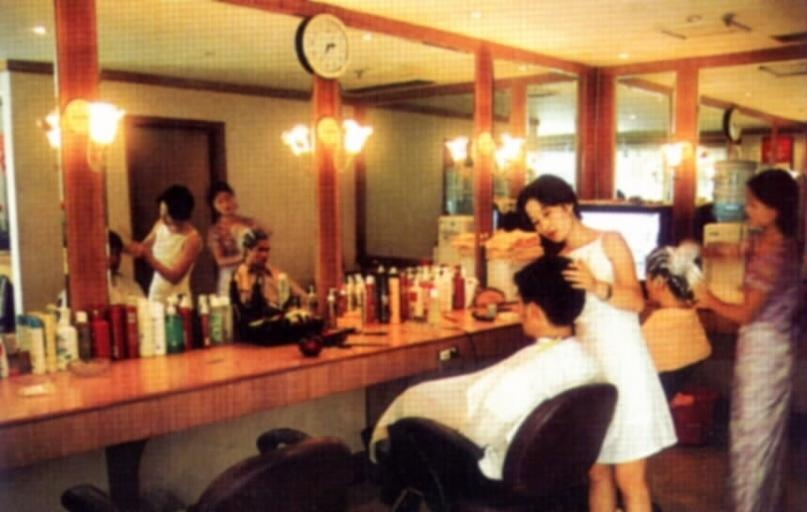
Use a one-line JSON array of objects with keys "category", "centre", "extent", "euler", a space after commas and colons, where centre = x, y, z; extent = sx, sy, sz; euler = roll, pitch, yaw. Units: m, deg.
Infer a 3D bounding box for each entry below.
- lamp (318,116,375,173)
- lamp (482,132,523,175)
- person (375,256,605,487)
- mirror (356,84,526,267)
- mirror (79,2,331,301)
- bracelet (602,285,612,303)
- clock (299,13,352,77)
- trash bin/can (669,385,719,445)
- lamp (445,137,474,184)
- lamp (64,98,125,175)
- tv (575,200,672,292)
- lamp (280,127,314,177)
[{"category": "lamp", "centre": [-0.357, -0.682, 4.292], "extent": [0.322, 0.302, 0.084], "euler": [-2, 11, -14]}, {"category": "lamp", "centre": [0.715, -0.738, 5.066], "extent": [0.279, 0.272, 0.072], "euler": [-15, 23, -32]}, {"category": "person", "centre": [0.637, 0.507, 3.686], "extent": [1.010, 1.315, 0.986], "euler": [-2, 10, -42]}, {"category": "mirror", "centre": [0.196, -0.503, 4.602], "extent": [1.247, 1.213, 0.059], "euler": [-6, 18, -38]}, {"category": "mirror", "centre": [-1.122, -0.595, 3.886], "extent": [1.682, 1.898, 0.081], "euler": [-5, 7, -42]}, {"category": "bracelet", "centre": [0.889, 0.157, 3.120], "extent": [0.013, 0.056, 0.057], "euler": [10, -16, 1]}, {"category": "clock", "centre": [-0.463, -1.239, 4.219], "extent": [0.373, 0.359, 0.361], "euler": [-14, 16, -35]}, {"category": "trash bin/can", "centre": [1.854, 1.035, 4.737], "extent": [0.326, 0.362, 0.320], "euler": [-1, 1, -2]}, {"category": "lamp", "centre": [0.381, -0.660, 4.759], "extent": [0.061, 0.246, 0.261], "euler": [1, 13, 30]}, {"category": "lamp", "centre": [-1.611, -0.623, 3.544], "extent": [0.322, 0.403, 0.266], "euler": [18, 19, 33]}, {"category": "tv", "centre": [1.120, -0.046, 3.665], "extent": [0.529, 0.371, 0.279], "euler": [-3, 8, -32]}, {"category": "lamp", "centre": [-0.605, -0.631, 4.269], "extent": [0.177, 0.275, 0.124], "euler": [-25, 24, -29]}]
